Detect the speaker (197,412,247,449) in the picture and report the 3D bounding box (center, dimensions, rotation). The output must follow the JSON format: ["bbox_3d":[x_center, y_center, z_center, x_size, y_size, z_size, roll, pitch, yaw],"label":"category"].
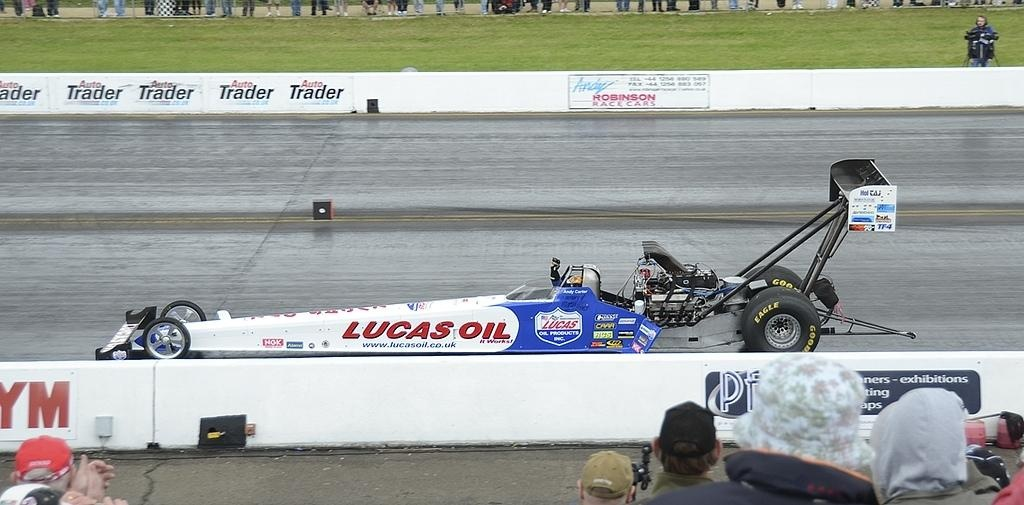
[{"bbox_3d":[-7.218,4.729,48.500,1.856,0.800,1.036,-7,-10,39],"label":"speaker"}]

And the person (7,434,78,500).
[{"bbox_3d":[-11.638,5.314,45.231,1.640,1.579,0.919,-4,-10,11],"label":"person"}]

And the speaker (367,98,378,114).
[{"bbox_3d":[-4.815,-5.071,62.686,0.438,0.517,0.243,-3,8,-4],"label":"speaker"}]
